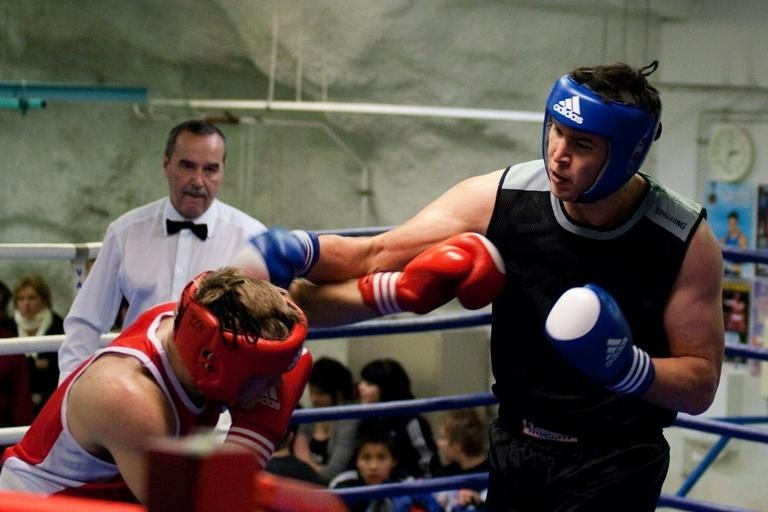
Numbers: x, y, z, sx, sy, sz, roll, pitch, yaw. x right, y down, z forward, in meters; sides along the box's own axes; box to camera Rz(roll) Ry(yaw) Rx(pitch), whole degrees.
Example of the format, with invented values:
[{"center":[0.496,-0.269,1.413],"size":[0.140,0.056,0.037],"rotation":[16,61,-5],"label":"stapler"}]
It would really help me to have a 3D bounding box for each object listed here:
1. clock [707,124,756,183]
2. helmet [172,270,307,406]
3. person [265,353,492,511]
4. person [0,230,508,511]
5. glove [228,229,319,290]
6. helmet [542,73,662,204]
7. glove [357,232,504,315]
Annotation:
[{"center":[3.250,-0.949,8.706],"size":[0.075,0.524,0.479],"rotation":[8,9,-30],"label":"clock"},{"center":[-0.642,0.365,4.082],"size":[0.541,0.368,0.442],"rotation":[33,22,15],"label":"helmet"},{"center":[0.154,1.133,5.700],"size":[1.220,0.323,1.131],"rotation":[1,-2,-34],"label":"person"},{"center":[-0.966,0.565,3.999],"size":[1.250,1.027,0.502],"rotation":[2,6,1],"label":"person"},{"center":[-0.475,0.035,4.146],"size":[0.254,0.156,0.329],"rotation":[-14,-2,-42],"label":"glove"},{"center":[0.963,-0.599,4.293],"size":[0.440,0.539,0.591],"rotation":[26,36,28],"label":"helmet"},{"center":[0.231,0.105,4.165],"size":[0.510,0.229,0.366],"rotation":[-7,-9,0],"label":"glove"}]
